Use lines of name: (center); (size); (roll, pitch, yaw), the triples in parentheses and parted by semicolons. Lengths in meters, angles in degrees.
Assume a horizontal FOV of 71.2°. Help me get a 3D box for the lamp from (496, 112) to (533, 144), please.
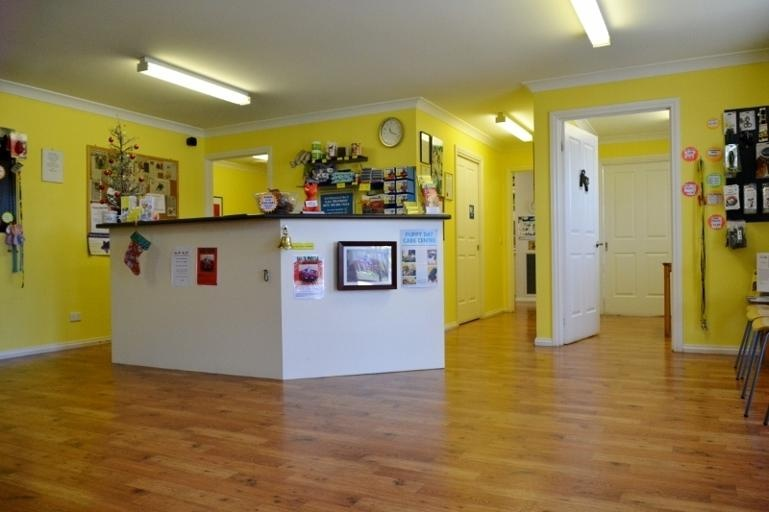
lamp: (2.069, -2.061, 8.581); (0.558, 0.339, 1.488); (1, 7, 14)

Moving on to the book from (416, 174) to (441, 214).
book: (0.481, -0.668, 5.789); (0.218, 0.407, 0.413); (0, 6, 6)

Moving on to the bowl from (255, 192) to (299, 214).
bowl: (-1.108, -0.487, 5.413); (0.291, 0.121, 0.294); (-1, -3, 0)

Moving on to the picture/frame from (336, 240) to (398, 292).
picture/frame: (-0.209, 0.104, 5.424); (0.538, 0.440, 0.043); (-1, -3, -12)

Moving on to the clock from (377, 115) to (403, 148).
clock: (0.099, -1.747, 7.553); (0.377, 0.427, 0.107); (4, 8, 38)

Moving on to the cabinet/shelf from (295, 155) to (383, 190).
cabinet/shelf: (-0.759, -1.206, 7.820); (1.160, 0.369, 0.322); (-9, -1, -26)

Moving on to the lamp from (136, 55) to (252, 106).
lamp: (-2.303, -2.129, 6.606); (0.194, 0.143, 1.368); (4, -2, 43)
